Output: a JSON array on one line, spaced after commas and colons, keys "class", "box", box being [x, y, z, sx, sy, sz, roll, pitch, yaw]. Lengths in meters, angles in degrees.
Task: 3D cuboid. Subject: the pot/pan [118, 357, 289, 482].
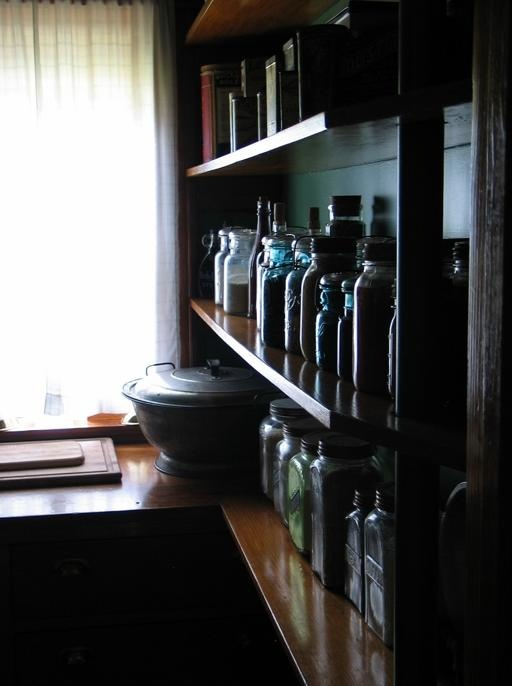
[{"class": "pot/pan", "box": [-0.151, 0.157, 1.583, 0.314, 0.267, 0.347, -2, 3, -35]}]
